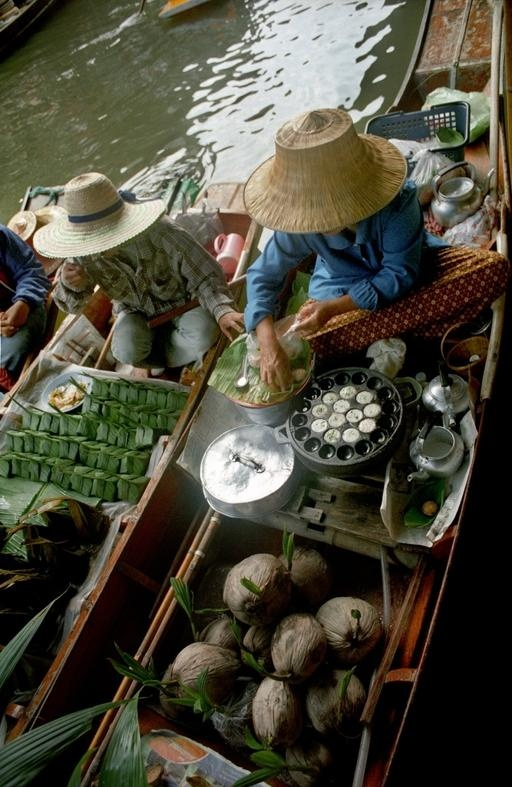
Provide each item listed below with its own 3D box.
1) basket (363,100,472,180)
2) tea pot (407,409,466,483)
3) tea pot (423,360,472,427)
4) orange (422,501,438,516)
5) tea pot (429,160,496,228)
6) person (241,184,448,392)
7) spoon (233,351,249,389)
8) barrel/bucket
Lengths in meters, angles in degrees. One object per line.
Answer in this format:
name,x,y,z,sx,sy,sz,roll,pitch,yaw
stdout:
basket,1.157,-1.708,4.059,0.765,0.308,0.583,3,87,38
tea pot,0.739,0.250,2.462,0.189,0.219,0.254,40,86,27
tea pot,0.834,0.018,2.535,0.171,0.137,0.268,-7,70,17
orange,0.699,0.460,2.348,0.047,0.030,0.056,15,91,29
tea pot,1.191,-1.149,3.378,0.335,0.338,0.261,-31,63,-1
person,0.374,-0.688,2.849,1.079,0.536,0.705,-20,31,-13
spoon,-0.073,-0.112,2.979,0.043,0.033,0.226,2,57,8
barrel/bucket,0.094,-0.001,2.859,0.389,0.266,0.428,-15,44,24
